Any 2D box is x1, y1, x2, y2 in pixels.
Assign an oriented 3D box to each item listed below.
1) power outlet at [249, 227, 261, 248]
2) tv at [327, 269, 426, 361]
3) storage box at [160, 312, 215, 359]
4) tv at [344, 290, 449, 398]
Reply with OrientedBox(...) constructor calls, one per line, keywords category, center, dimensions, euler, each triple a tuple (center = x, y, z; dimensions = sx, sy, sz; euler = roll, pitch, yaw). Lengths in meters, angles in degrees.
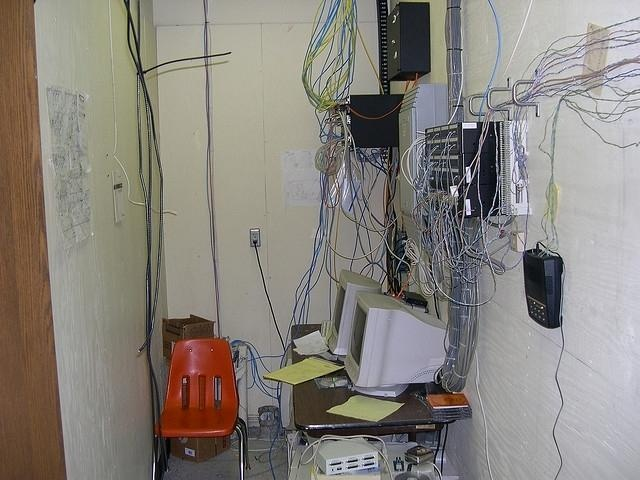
OrientedBox(category="power outlet", center=(-0.494, -0.015, 4.014), dimensions=(0.107, 0.231, 0.106), euler=(-1, 5, -9))
OrientedBox(category="tv", center=(0.197, 0.451, 3.220), dimensions=(0.236, 0.419, 0.407), euler=(11, 5, -7))
OrientedBox(category="storage box", center=(-0.972, 0.662, 3.770), dimensions=(0.285, 0.220, 0.280), euler=(-18, -13, 38))
OrientedBox(category="tv", center=(0.386, 0.544, 2.808), dimensions=(0.434, 0.459, 0.481), euler=(4, 4, -5))
